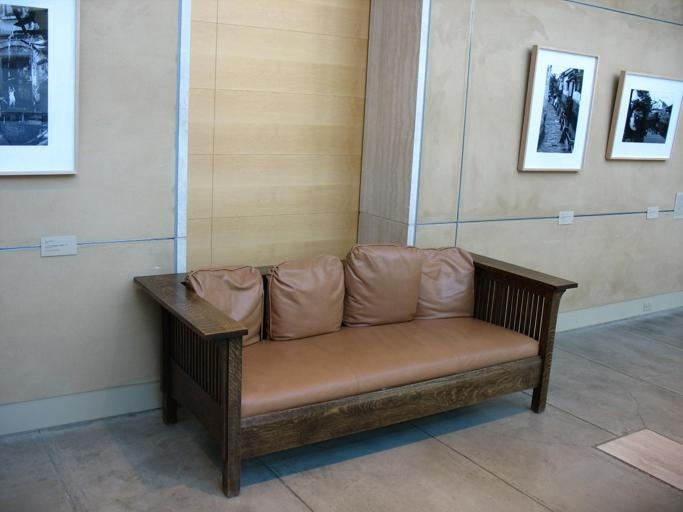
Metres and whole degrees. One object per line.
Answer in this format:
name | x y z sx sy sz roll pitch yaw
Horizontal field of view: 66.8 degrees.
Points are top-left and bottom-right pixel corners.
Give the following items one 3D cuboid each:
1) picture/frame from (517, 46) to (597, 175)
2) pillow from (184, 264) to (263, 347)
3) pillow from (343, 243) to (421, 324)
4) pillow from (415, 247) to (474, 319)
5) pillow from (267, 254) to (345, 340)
picture/frame | 1.968 -1.311 4.696 0.909 1.062 0.225 -10 19 -36
pillow | -0.743 0.334 3.316 0.525 0.541 0.295 -5 7 -42
pillow | 0.306 0.208 3.818 0.648 0.604 0.340 0 11 -27
pillow | 0.770 0.227 3.922 0.512 0.460 0.265 -3 8 -22
pillow | -0.239 0.289 3.551 0.585 0.543 0.311 -7 17 -28
